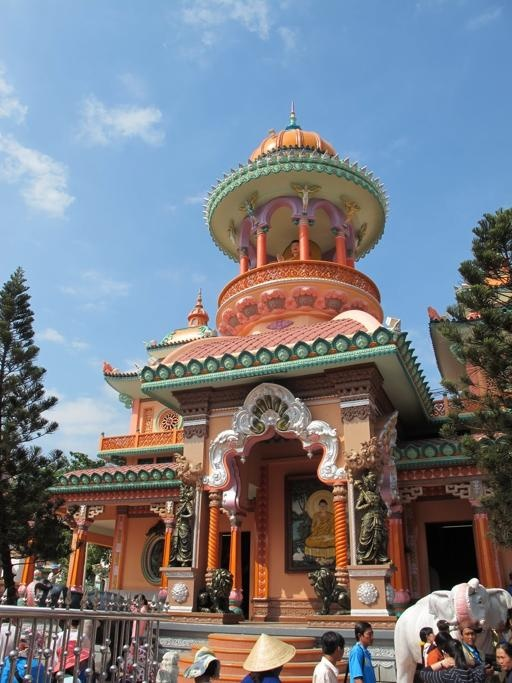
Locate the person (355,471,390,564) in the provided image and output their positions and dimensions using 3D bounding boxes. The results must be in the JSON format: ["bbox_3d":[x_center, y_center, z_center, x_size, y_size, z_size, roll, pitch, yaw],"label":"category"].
[{"bbox_3d":[1.562,2.395,8.431,0.423,1.239,0.274,-3,-23,7],"label":"person"}]

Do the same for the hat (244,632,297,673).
[{"bbox_3d":[0.109,2.103,4.178,0.326,0.131,0.311,-8,-8,-31],"label":"hat"}]

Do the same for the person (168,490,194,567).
[{"bbox_3d":[-1.199,2.901,9.766,0.284,1.254,0.447,14,-27,-29],"label":"person"}]
